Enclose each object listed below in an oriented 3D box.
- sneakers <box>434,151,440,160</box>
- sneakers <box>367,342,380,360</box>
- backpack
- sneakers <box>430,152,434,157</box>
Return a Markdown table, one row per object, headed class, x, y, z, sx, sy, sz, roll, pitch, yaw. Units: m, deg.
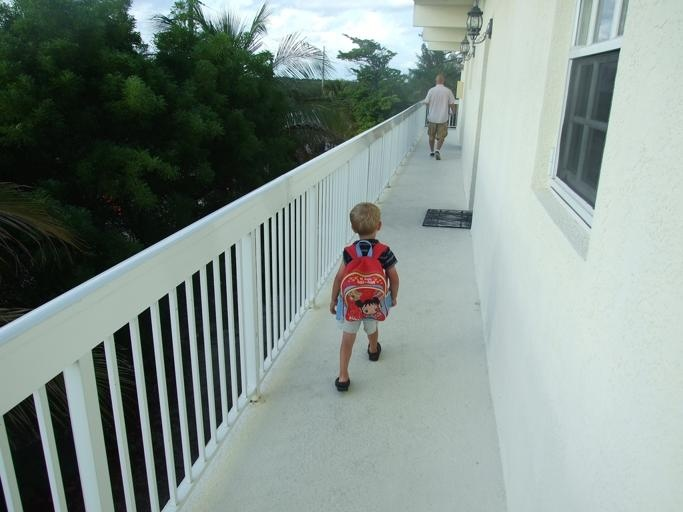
| class | x | y | z | sx | sy | sz | roll | pitch | yaw |
| --- | --- | --- | --- | --- | --- | --- | --- | --- | --- |
| sneakers | 2.094 | -2.201 | 11.418 | 0.080 | 0.246 | 0.100 | 6 | 66 | 21 |
| sneakers | 0.199 | 0.589 | 3.248 | 0.042 | 0.058 | 0.128 | -1 | 19 | 7 |
| backpack | 0.111 | 0.129 | 2.696 | 0.289 | 0.457 | 0.260 | 0 | 45 | -1 |
| sneakers | 2.007 | -2.274 | 11.609 | 0.117 | 0.064 | 0.127 | -2 | 3 | -1 |
